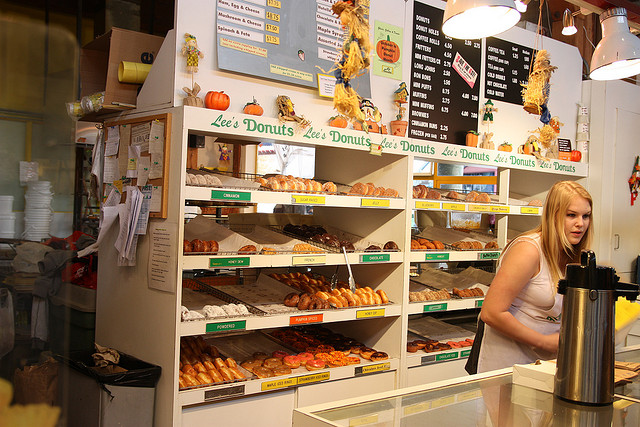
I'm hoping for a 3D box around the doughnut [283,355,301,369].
[{"bbox_3d":[-0.203,1.102,3.413,0.090,0.041,0.090,-1,-2,27],"label":"doughnut"}]

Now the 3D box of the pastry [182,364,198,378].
[{"bbox_3d":[-0.881,1.046,3.075,0.054,0.092,0.086,-34,-1,-8],"label":"pastry"}]

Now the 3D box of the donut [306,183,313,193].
[{"bbox_3d":[-0.078,-0.192,3.425,0.047,0.070,0.093,0,3,-2],"label":"donut"}]

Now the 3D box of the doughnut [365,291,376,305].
[{"bbox_3d":[0.406,0.683,3.706,0.039,0.081,0.083,-8,-26,5],"label":"doughnut"}]

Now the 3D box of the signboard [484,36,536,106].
[{"bbox_3d":[1.972,-1.460,4.740,0.747,0.643,0.065,-1,4,-31],"label":"signboard"}]

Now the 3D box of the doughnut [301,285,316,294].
[{"bbox_3d":[-0.093,0.611,3.673,0.055,0.025,0.073,19,-5,-40],"label":"doughnut"}]

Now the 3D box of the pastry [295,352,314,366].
[{"bbox_3d":[-0.115,1.105,3.489,0.085,0.030,0.087,7,7,42],"label":"pastry"}]

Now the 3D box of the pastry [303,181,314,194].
[{"bbox_3d":[-0.092,-0.204,3.434,0.057,0.077,0.024,-9,-3,9],"label":"pastry"}]

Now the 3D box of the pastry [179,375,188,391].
[{"bbox_3d":[-0.888,1.094,2.973,0.050,0.059,0.094,-1,3,-17],"label":"pastry"}]

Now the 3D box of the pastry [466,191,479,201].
[{"bbox_3d":[1.454,-0.170,4.367,0.078,0.031,0.102,-1,35,17],"label":"pastry"}]

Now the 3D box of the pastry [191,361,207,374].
[{"bbox_3d":[-0.820,1.038,3.112,0.055,0.024,0.079,-1,28,-26],"label":"pastry"}]

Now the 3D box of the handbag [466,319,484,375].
[{"bbox_3d":[0.999,0.829,2.866,0.041,0.346,0.103,5,-26,43],"label":"handbag"}]

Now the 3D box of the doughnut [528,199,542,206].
[{"bbox_3d":[2.247,-0.111,4.749,0.099,0.034,0.105,-6,8,-10],"label":"doughnut"}]

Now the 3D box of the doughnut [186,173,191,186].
[{"bbox_3d":[-0.885,-0.229,3.060,0.013,0.051,0.041,-6,-14,10],"label":"doughnut"}]

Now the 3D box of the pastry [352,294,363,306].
[{"bbox_3d":[0.295,0.688,3.628,0.025,0.075,0.076,-9,-13,-11],"label":"pastry"}]

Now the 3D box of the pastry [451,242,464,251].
[{"bbox_3d":[1.302,0.304,4.255,0.107,0.060,0.178,0,3,-9],"label":"pastry"}]

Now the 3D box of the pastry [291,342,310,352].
[{"bbox_3d":[-0.155,1.062,3.668,0.132,0.031,0.118,0,3,-2],"label":"pastry"}]

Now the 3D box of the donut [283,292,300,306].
[{"bbox_3d":[-0.207,0.650,3.504,0.093,0.031,0.091,-20,33,-22],"label":"donut"}]

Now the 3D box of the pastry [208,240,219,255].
[{"bbox_3d":[-0.734,0.228,3.141,0.081,0.077,0.073,-4,32,-19],"label":"pastry"}]

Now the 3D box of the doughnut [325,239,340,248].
[{"bbox_3d":[0.101,0.239,3.703,0.118,0.059,0.106,0,3,0],"label":"doughnut"}]

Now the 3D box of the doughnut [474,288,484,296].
[{"bbox_3d":[1.508,0.737,4.304,0.046,0.061,0.061,-12,8,12],"label":"doughnut"}]

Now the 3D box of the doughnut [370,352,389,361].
[{"bbox_3d":[0.486,1.156,3.715,0.172,0.053,0.065,-2,4,-37],"label":"doughnut"}]

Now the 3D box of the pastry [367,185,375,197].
[{"bbox_3d":[0.418,-0.191,3.747,0.018,0.063,0.067,17,-9,-43],"label":"pastry"}]

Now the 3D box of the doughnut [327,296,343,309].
[{"bbox_3d":[0.121,0.689,3.550,0.084,0.028,0.087,9,-3,25],"label":"doughnut"}]

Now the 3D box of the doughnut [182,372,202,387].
[{"bbox_3d":[-0.834,1.080,2.997,0.055,0.039,0.119,-13,47,-47],"label":"doughnut"}]

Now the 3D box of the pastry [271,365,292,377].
[{"bbox_3d":[-0.275,1.121,3.270,0.167,0.052,0.115,-2,4,-43],"label":"pastry"}]

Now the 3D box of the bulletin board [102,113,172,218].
[{"bbox_3d":[-1.259,-0.327,3.185,0.770,0.925,0.072,3,1,38],"label":"bulletin board"}]

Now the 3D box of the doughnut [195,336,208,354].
[{"bbox_3d":[-0.876,0.962,3.355,0.045,0.124,0.121,-22,-6,-10],"label":"doughnut"}]

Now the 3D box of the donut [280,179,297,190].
[{"bbox_3d":[-0.234,-0.212,3.343,0.119,0.074,0.075,-2,4,-40],"label":"donut"}]

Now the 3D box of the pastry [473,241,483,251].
[{"bbox_3d":[1.522,0.309,4.387,0.018,0.058,0.060,-21,-11,-3],"label":"pastry"}]

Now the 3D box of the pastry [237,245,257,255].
[{"bbox_3d":[-0.516,0.250,3.245,0.080,0.024,0.058,-22,45,-39],"label":"pastry"}]

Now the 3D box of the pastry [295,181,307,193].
[{"bbox_3d":[-0.141,-0.196,3.391,0.021,0.081,0.085,-10,5,-36],"label":"pastry"}]

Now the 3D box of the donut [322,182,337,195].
[{"bbox_3d":[0.080,-0.198,3.597,0.109,0.094,0.292,0,3,1],"label":"donut"}]

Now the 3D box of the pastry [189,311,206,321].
[{"bbox_3d":[-0.833,0.677,3.046,0.051,0.020,0.067,2,0,-25],"label":"pastry"}]

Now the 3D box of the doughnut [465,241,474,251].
[{"bbox_3d":[1.428,0.299,4.316,0.047,0.061,0.020,1,-19,-30],"label":"doughnut"}]

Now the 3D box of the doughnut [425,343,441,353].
[{"bbox_3d":[0.990,1.178,4.011,0.081,0.032,0.079,0,0,-26],"label":"doughnut"}]

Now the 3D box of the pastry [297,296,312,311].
[{"bbox_3d":[-0.112,0.670,3.439,0.028,0.084,0.085,39,28,-6],"label":"pastry"}]

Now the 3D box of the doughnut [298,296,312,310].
[{"bbox_3d":[-0.117,0.669,3.428,0.029,0.079,0.080,36,-40,-27],"label":"doughnut"}]

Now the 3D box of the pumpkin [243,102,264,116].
[{"bbox_3d":[-0.479,-0.745,3.269,0.140,0.101,0.140,0,3,-9],"label":"pumpkin"}]
